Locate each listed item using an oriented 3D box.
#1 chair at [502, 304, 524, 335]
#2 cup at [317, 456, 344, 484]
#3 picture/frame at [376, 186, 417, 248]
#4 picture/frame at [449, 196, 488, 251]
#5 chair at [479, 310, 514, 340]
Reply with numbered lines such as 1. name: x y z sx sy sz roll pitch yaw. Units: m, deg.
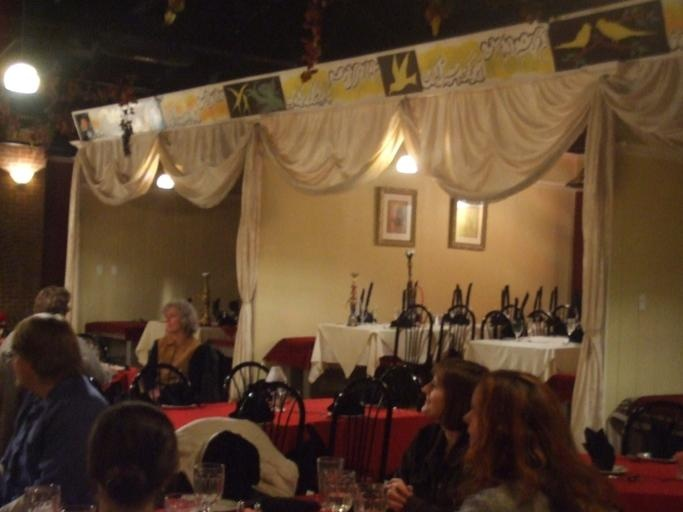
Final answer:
1. chair: 1.912 0.714 7.172 0.239 0.403 0.233 3 5 42
2. cup: -0.057 0.833 2.546 0.093 0.124 0.109 1 -4 16
3. picture/frame: 0.743 -0.556 8.986 0.786 0.879 0.055 3 -3 -42
4. picture/frame: 1.933 -0.515 9.870 0.030 0.735 0.670 -4 9 -38
5. chair: 1.748 0.807 7.359 0.320 0.389 0.343 1 -4 -10
